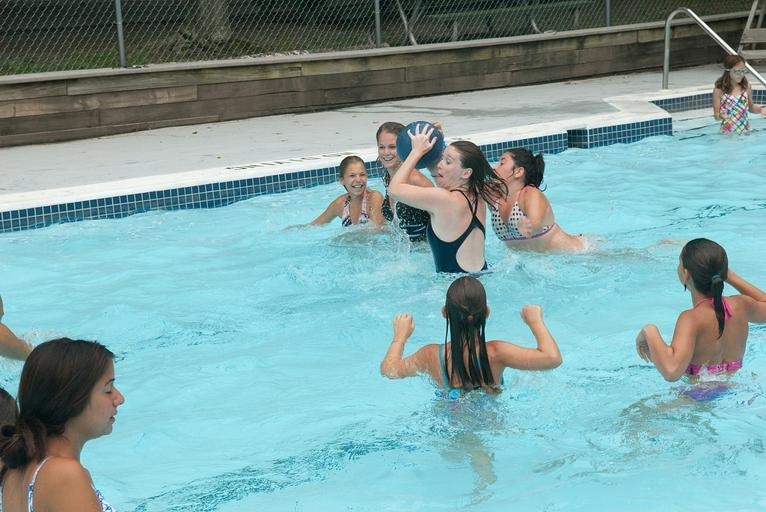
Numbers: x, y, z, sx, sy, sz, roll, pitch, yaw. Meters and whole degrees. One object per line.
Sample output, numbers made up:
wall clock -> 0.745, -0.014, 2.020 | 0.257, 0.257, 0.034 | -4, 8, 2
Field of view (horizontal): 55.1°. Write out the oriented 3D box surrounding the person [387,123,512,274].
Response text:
person -> 0.455, -0.354, 5.411 | 0.810, 1.098, 0.511 | -20, 21, -39

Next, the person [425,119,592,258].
person -> 1.068, -0.438, 6.307 | 1.626, 0.916, 1.336 | 3, 7, 18

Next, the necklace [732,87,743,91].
necklace -> 4.793, -2.252, 9.958 | 0.093, 0.018, 0.074 | -16, 29, -3

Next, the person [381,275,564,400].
person -> 0.481, 0.449, 4.316 | 1.058, 0.712, 0.414 | -4, 17, 6
